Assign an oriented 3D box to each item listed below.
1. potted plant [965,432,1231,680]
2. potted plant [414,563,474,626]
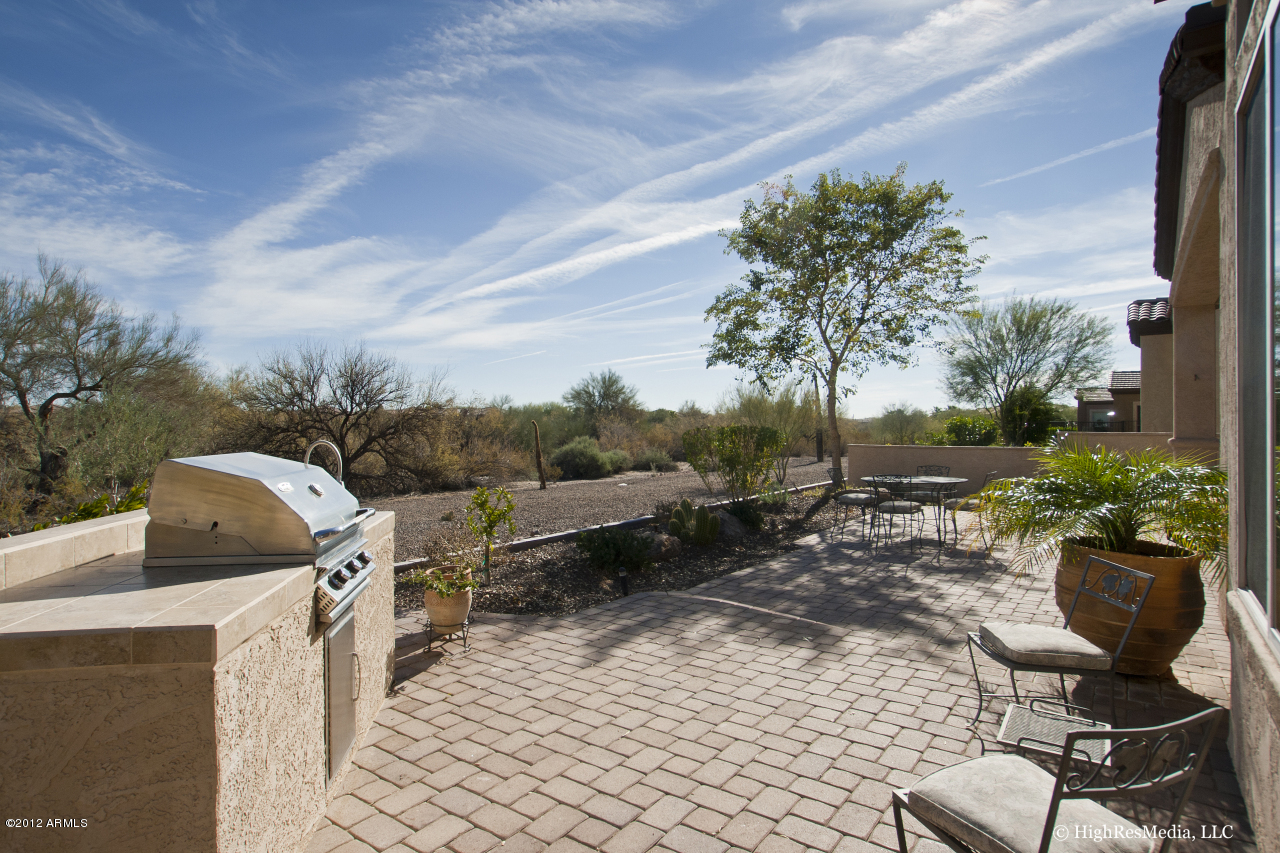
[{"bbox_3d":[4.622,1.172,6.998,2.240,2.126,2.333,3,-7,5],"label":"potted plant"},{"bbox_3d":[-2.001,1.824,7.610,0.491,0.503,0.486,1,1,24],"label":"potted plant"}]
